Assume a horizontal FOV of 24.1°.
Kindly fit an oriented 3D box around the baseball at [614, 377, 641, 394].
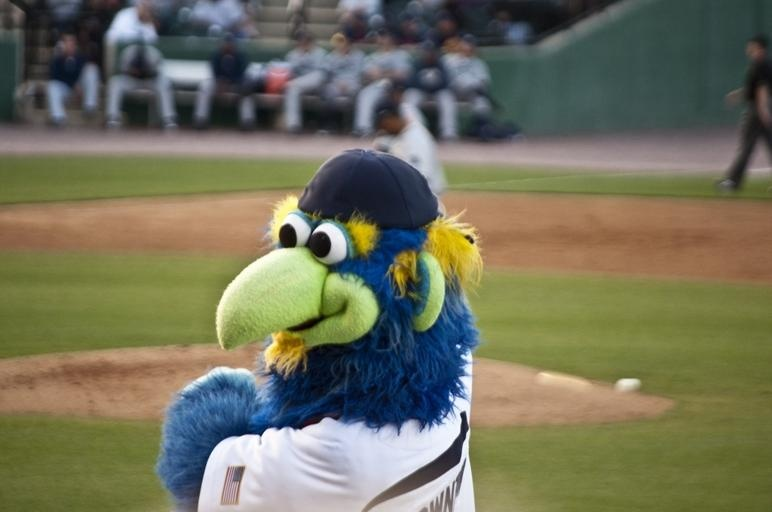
[{"bbox_3d":[2.856,1.537,21.389,0.309,0.126,0.226,3,12,7],"label":"baseball"}]
